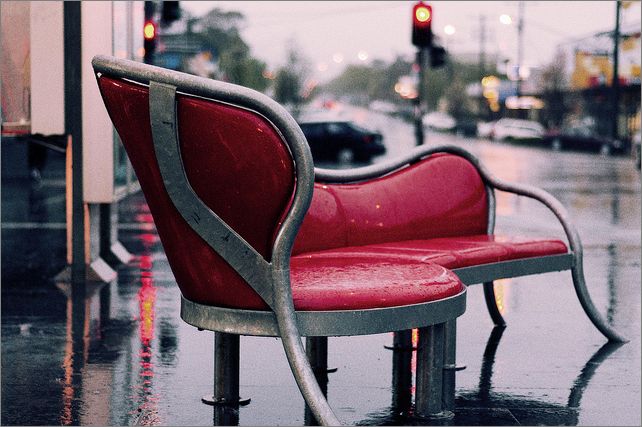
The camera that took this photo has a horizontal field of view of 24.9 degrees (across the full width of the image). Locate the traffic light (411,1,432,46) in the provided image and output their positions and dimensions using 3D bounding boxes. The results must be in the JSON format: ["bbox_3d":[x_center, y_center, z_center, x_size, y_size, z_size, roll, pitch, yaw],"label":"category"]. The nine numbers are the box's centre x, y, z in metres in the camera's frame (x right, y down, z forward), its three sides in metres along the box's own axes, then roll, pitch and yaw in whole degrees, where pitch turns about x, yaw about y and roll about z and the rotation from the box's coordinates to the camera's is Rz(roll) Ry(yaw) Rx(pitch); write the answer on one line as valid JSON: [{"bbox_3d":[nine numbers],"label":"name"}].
[{"bbox_3d":[1.447,-2.670,20.767,0.279,0.630,0.234,0,7,3],"label":"traffic light"}]

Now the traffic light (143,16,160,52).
[{"bbox_3d":[-2.488,-2.599,21.247,0.169,0.454,0.605,-1,7,-8],"label":"traffic light"}]
